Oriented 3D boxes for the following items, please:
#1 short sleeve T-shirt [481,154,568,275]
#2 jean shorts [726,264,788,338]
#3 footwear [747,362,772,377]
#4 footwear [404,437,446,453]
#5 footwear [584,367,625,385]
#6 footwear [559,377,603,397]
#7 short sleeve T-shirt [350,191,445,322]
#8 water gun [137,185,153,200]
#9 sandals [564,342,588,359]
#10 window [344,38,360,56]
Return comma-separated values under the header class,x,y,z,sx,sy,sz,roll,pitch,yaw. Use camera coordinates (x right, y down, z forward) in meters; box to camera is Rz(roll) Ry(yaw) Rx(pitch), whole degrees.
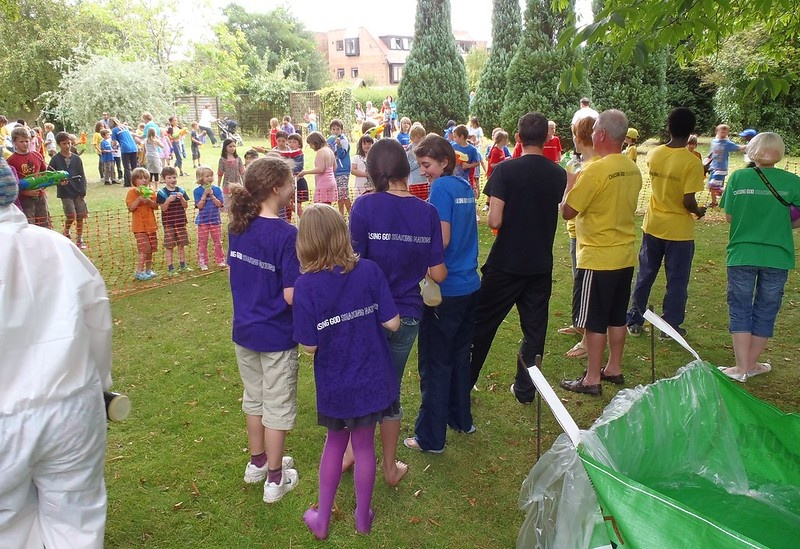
class,x,y,z,sx,sy,sz,roll,pitch,yaw
short sleeve T-shirt,1.142,-0.566,5.331,0.786,0.971,0.469,1,3,-10
jean shorts,3.593,0.283,5.974,0.517,0.988,0.300,4,21,26
footwear,3.727,0.974,6.101,0.331,0.089,0.121,-8,11,-33
footwear,0.226,1.468,5.182,0.346,0.145,0.133,9,9,23
footwear,2.128,1.045,6.012,0.447,0.184,0.166,7,7,20
footwear,1.789,1.098,5.811,0.388,0.148,0.157,5,0,28
short sleeve T-shirt,-0.033,-0.131,4.433,0.887,1.066,0.450,-1,20,5
water gun,-3.593,-1.144,8.389,0.146,0.193,0.147,-10,32,5
sandals,1.932,0.840,6.453,0.287,0.105,0.105,-2,8,-42
window,-5.378,-26.165,68.033,1.849,2.137,1.171,3,9,23
